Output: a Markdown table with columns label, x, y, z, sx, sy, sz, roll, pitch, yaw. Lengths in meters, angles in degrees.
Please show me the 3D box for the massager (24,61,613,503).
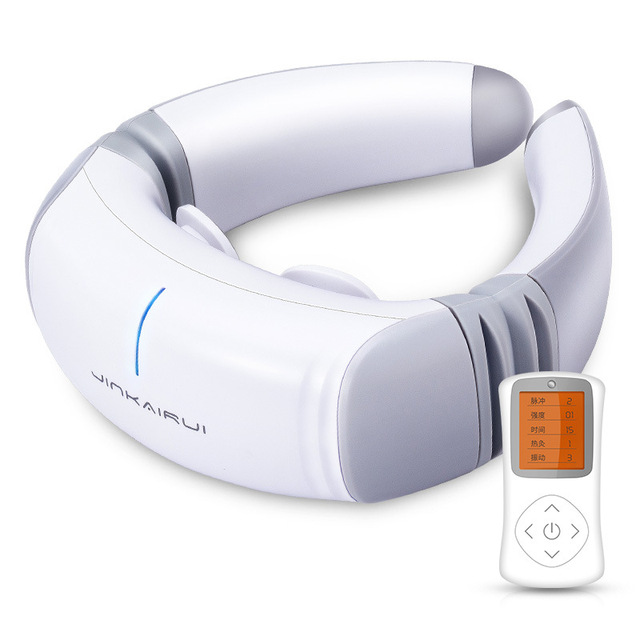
| label | x | y | z | sx | sy | sz | roll | pitch | yaw |
| --- | --- | --- | --- | --- | --- | --- | --- | --- | --- |
| massager | 0.035 | -0.193 | 1.726 | 1.038 | 1.166 | 0.366 | 22 | -43 | 15 |
